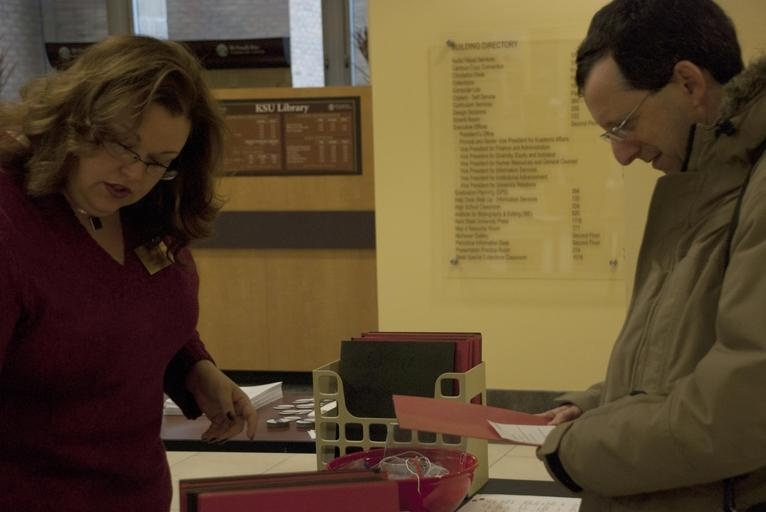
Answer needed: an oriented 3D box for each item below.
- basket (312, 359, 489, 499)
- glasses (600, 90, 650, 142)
[{"bbox_3d":[0.042,0.436,2.878,0.558,0.448,0.407,0,1,15],"label":"basket"},{"bbox_3d":[0.633,-0.365,2.338,0.028,0.102,0.097,39,3,17],"label":"glasses"}]
